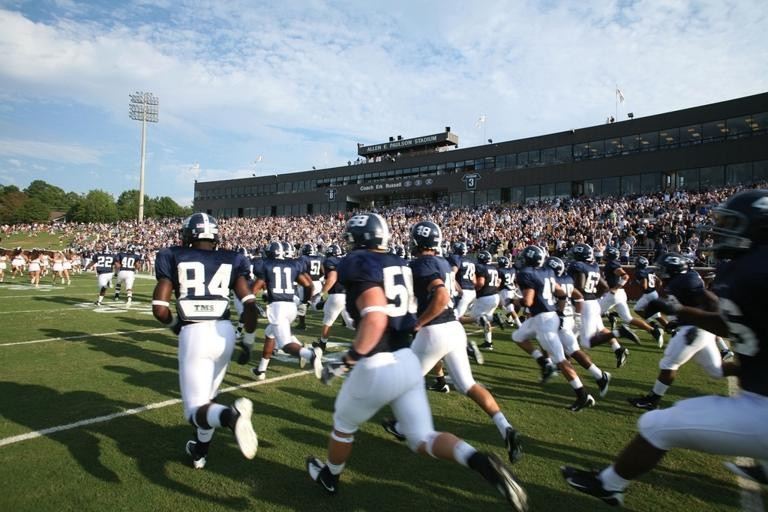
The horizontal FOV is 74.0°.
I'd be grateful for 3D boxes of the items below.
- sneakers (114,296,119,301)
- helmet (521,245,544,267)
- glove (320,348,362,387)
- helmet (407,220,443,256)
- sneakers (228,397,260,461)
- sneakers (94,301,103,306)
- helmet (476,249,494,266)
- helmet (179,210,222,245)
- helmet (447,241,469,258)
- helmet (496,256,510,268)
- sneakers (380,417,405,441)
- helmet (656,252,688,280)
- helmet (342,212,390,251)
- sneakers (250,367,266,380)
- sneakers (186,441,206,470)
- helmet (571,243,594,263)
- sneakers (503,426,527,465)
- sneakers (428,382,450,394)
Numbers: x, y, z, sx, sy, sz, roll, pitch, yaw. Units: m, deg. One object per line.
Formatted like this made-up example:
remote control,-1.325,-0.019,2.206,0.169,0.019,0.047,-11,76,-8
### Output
sneakers,-8.403,1.354,15.995,0.063,0.185,0.123,23,33,-41
helmet,2.286,-0.004,7.918,0.380,0.309,0.267,-16,29,-19
glove,-0.475,1.091,5.026,0.251,0.348,0.560,3,1,-39
helmet,0.570,-0.245,6.485,0.359,0.435,0.452,-6,30,-35
sneakers,-1.419,1.762,5.202,0.290,0.620,0.245,-14,5,38
sneakers,-8.248,1.397,14.718,0.170,0.078,0.231,2,1,7
helmet,2.020,0.070,10.287,0.429,0.339,0.304,3,14,13
helmet,-2.086,-0.295,5.743,0.346,0.367,0.448,0,6,-27
helmet,1.452,-0.115,10.150,0.385,0.303,0.290,20,15,39
helmet,2.793,0.158,11.915,0.286,0.272,0.244,-15,32,-37
sneakers,0.117,2.105,6.123,0.273,0.254,0.435,4,1,4
helmet,3.615,0.143,6.400,0.332,0.359,0.477,5,1,28
helmet,-0.179,-0.253,5.414,0.465,0.330,0.350,-7,10,3
sneakers,-1.957,1.860,7.960,0.109,0.118,0.293,8,-2,-32
sneakers,-2.052,2.200,5.667,0.176,0.208,0.443,6,1,-40
helmet,3.659,-0.045,9.420,0.408,0.325,0.293,-1,5,17
sneakers,1.459,2.130,5.743,0.170,0.389,0.247,-3,-3,37
sneakers,0.824,2.000,7.694,0.387,0.155,0.127,2,-2,31
